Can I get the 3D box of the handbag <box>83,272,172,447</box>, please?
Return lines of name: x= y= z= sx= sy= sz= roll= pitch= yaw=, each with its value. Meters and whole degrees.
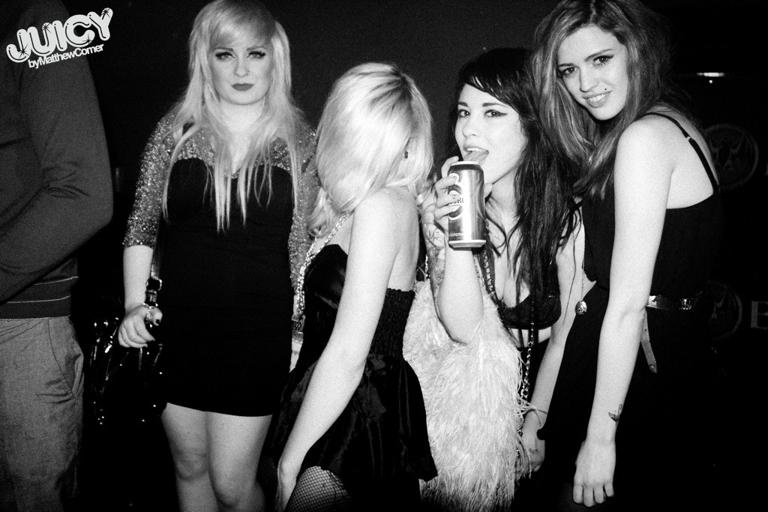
handbag: x=-1.158 y=0.515 z=2.842 sx=0.518 sy=0.860 sz=0.307 roll=-1 pitch=0 yaw=-12

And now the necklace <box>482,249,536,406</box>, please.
necklace: x=0.551 y=0.258 z=2.703 sx=0.119 sy=0.750 sz=0.200 roll=-14 pitch=6 yaw=-44
